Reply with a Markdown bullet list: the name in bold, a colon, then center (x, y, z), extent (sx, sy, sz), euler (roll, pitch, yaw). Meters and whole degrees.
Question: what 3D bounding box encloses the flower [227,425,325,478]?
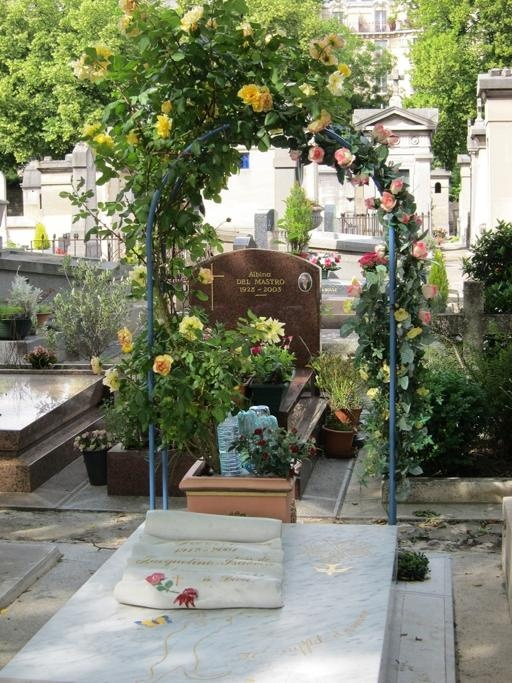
- **flower**: center (0.093, 0.614, 4.101), extent (0.369, 0.215, 0.337), euler (0, 8, 3)
